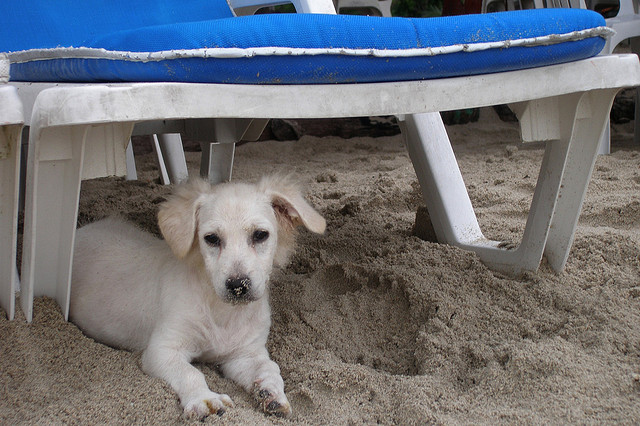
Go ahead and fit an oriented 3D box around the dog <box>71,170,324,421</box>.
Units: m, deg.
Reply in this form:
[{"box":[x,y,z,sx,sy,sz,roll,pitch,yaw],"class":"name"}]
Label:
[{"box":[-0.489,0.124,2.479,0.590,0.751,1.159,2,24,-45],"class":"dog"}]
